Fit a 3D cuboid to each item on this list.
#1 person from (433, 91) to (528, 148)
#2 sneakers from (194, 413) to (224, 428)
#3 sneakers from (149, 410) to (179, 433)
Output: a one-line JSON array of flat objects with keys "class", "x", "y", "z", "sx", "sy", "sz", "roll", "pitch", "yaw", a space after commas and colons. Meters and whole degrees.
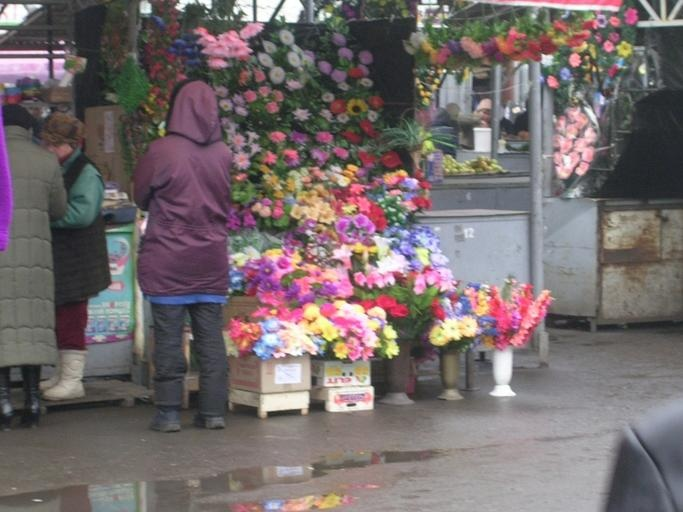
[{"class": "person", "x": 1.901, "y": -1.691, "z": 17.348, "sx": 1.324, "sy": 0.346, "sz": 0.898, "roll": 0, "pitch": 0, "yaw": -33}, {"class": "sneakers", "x": -1.012, "y": 1.278, "z": 10.479, "sx": 0.242, "sy": 0.082, "sz": 0.095, "roll": 5, "pitch": 6, "yaw": 36}, {"class": "sneakers", "x": -1.343, "y": 1.267, "z": 10.418, "sx": 0.116, "sy": 0.160, "sz": 0.306, "roll": 0, "pitch": 3, "yaw": -44}]
